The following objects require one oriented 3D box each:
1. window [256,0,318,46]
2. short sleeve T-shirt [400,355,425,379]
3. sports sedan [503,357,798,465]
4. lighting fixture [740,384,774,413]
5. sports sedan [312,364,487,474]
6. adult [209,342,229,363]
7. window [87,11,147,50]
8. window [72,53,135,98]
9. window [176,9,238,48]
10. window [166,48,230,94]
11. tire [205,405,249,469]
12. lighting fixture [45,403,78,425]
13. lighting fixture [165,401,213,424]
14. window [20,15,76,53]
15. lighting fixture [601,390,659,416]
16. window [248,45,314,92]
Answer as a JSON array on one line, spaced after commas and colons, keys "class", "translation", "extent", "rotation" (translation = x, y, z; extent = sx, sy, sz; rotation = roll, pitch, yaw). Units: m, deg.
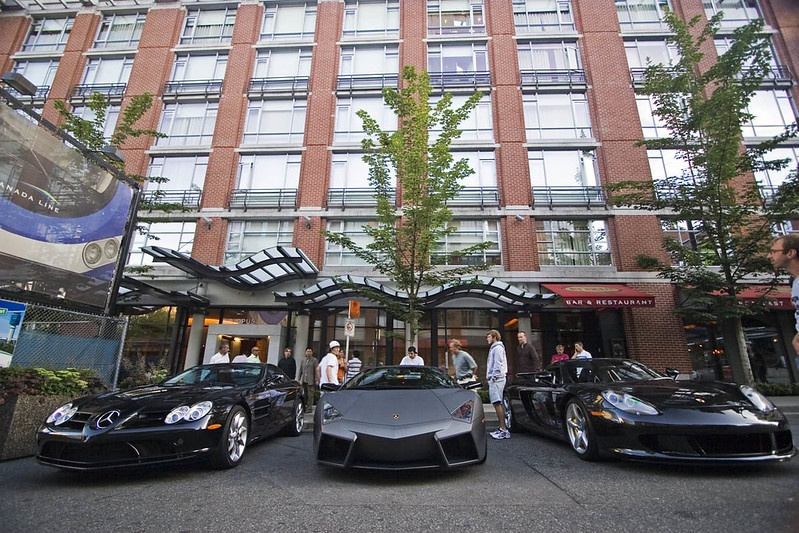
[{"class": "window", "translation": [-6.441, -14.048, 23.772], "extent": [4.609, 2.953, 0.385], "rotation": [0, -17, 3]}, {"class": "short sleeve T-shirt", "translation": [0.276, 2.338, 9.406], "extent": [0.775, 0.284, 1.112], "rotation": [0, 7, 2]}, {"class": "sports sedan", "translation": [4.127, 2.684, 7.451], "extent": [2.124, 1.389, 3.813], "rotation": [-1, 0, -34]}, {"class": "lighting fixture", "translation": [5.815, 2.181, 6.711], "extent": [0.437, 0.305, 0.657], "rotation": [-1, 0, 37]}, {"class": "sports sedan", "translation": [-0.041, 2.459, 8.207], "extent": [2.947, 1.045, 4.374], "rotation": [-1, 0, 5]}, {"class": "adult", "translation": [-5.357, 2.557, 12.388], "extent": [0.423, 0.618, 1.600], "rotation": [-2, 0, -25]}, {"class": "window", "translation": [-16.652, -14.045, 24.497], "extent": [4.454, 2.883, 0.301], "rotation": [0, -22, 1]}, {"class": "window", "translation": [-16.607, -10.891, 23.507], "extent": [3.452, 2.416, 1.008], "rotation": [7, 0, 13]}, {"class": "window", "translation": [-11.196, -13.884, 24.017], "extent": [4.186, 2.731, 0.282], "rotation": [1, -22, 2]}, {"class": "window", "translation": [-11.122, -10.900, 22.941], "extent": [4.343, 2.943, 0.389], "rotation": [0, -26, 2]}, {"class": "tire", "translation": [-2.963, 2.929, 7.028], "extent": [0.454, 0.927, 0.971], "rotation": [0, -38, 14]}, {"class": "lighting fixture", "translation": [-5.539, 2.458, 6.798], "extent": [0.521, 0.380, 0.312], "rotation": [-1, 0, 33]}, {"class": "lighting fixture", "translation": [-3.413, 2.408, 6.745], "extent": [0.394, 0.110, 0.347], "rotation": [-11, -5, 12]}, {"class": "window", "translation": [-21.183, -14.137, 25.030], "extent": [4.440, 3.218, 0.246], "rotation": [0, -21, 3]}, {"class": "lighting fixture", "translation": [3.727, 2.245, 6.699], "extent": [0.802, 0.289, 0.264], "rotation": [-1, 0, 41]}, {"class": "window", "translation": [-6.421, -11.296, 22.900], "extent": [4.167, 2.817, 0.387], "rotation": [13, 9, 25]}]
